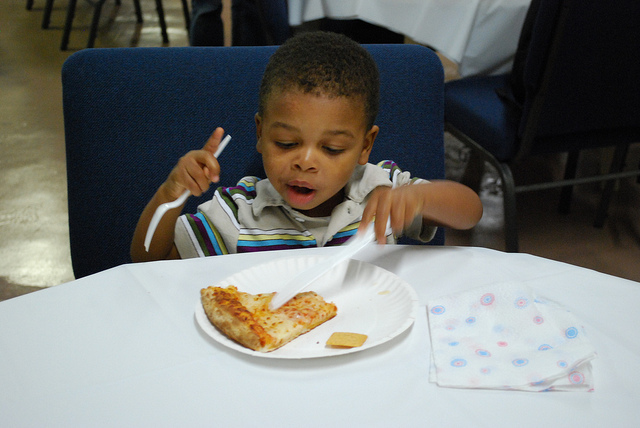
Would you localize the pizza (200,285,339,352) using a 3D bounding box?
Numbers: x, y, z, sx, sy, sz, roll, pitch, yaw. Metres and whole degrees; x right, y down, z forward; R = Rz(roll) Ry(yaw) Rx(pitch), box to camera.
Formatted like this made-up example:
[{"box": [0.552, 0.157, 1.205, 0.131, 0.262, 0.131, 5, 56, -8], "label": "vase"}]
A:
[{"box": [-0.101, 0.205, 1.031, 0.156, 0.036, 0.165, -11, 29, -28], "label": "pizza"}]

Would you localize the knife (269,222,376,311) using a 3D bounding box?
[{"box": [0.040, 0.127, 1.157, 0.060, 0.065, 0.345, 38, 36, 27], "label": "knife"}]

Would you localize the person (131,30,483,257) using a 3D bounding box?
[{"box": [-0.055, -0.202, 1.531, 0.723, 0.860, 0.470, -4, 21, -9], "label": "person"}]

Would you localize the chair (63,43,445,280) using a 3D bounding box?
[{"box": [-0.226, -0.050, 2.054, 1.113, 1.133, 0.803, -3, 25, -8], "label": "chair"}]

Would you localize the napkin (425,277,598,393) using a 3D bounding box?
[{"box": [0.353, 0.219, 0.961, 0.196, 0.053, 0.214, -2, 39, -1], "label": "napkin"}]
